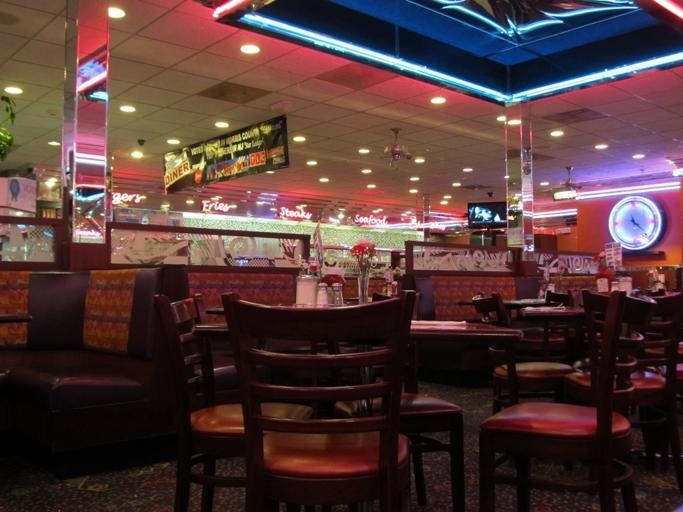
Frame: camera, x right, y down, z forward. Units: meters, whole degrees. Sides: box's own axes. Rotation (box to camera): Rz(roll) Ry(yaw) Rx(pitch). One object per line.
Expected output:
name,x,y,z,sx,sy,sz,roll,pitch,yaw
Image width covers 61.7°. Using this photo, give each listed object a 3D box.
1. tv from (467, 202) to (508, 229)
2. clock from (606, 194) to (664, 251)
tv,4.253,-1.213,16.530,1.038,0.798,0.733,0,1,8
clock,7.414,-0.839,14.327,0.434,1.389,1.304,-1,2,-31
